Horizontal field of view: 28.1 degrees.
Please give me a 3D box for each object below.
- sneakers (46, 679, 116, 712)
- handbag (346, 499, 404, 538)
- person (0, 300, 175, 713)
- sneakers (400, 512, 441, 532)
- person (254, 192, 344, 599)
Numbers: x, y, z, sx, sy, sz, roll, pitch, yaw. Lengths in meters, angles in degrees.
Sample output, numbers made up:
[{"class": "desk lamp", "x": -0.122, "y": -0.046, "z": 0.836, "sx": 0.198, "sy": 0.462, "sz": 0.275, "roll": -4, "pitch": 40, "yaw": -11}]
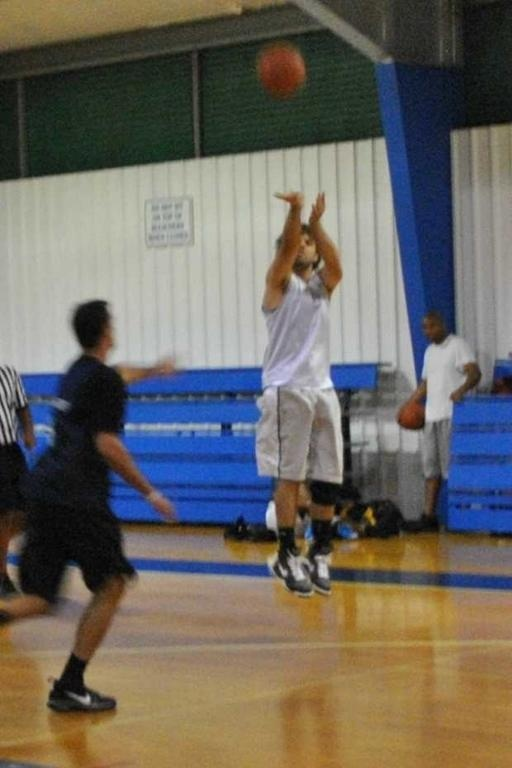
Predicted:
[{"class": "sneakers", "x": -0.493, "y": 0.876, "z": 2.925, "sx": 0.215, "sy": 0.130, "sz": 0.080, "roll": 1, "pitch": -3, "yaw": -10}, {"class": "handbag", "x": 0.738, "y": 0.811, "z": 6.288, "sx": 0.147, "sy": 0.273, "sz": 0.474, "roll": -5, "pitch": -13, "yaw": 29}, {"class": "person", "x": -0.505, "y": 0.334, "z": 2.873, "sx": 0.547, "sy": 1.148, "sz": 0.272, "roll": -2, "pitch": -1, "yaw": 31}, {"class": "sneakers", "x": 1.054, "y": 0.874, "z": 6.558, "sx": 0.241, "sy": 0.138, "sz": 0.101, "roll": 4, "pitch": -4, "yaw": -2}, {"class": "person", "x": 0.158, "y": 0.057, "z": 3.653, "sx": 0.324, "sy": 0.950, "sz": 0.569, "roll": -1, "pitch": -1, "yaw": 0}]
